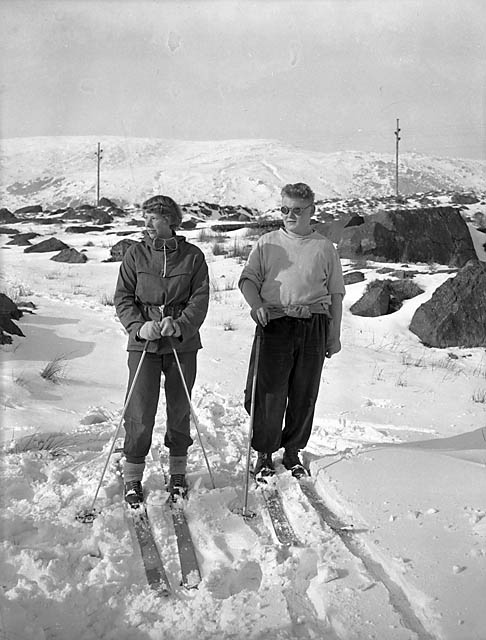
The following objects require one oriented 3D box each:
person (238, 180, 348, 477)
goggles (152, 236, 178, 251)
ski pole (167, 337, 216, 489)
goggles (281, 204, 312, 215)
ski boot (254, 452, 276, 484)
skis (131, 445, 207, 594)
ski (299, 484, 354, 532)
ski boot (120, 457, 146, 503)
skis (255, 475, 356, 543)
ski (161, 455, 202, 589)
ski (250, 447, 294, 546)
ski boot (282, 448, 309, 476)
[{"bbox_3d":[0.327,0.087,3.499,0.726,1.977,0.366,-2,10,-31],"label":"person"},{"bbox_3d":[-0.475,-0.470,3.158,0.151,0.083,0.065,1,9,-12],"label":"goggles"},{"bbox_3d":[-0.363,0.689,3.627,0.074,1.036,0.029,-22,8,-21],"label":"ski pole"},{"bbox_3d":[0.337,-0.720,3.336,0.182,0.070,0.084,5,9,10],"label":"goggles"},{"bbox_3d":[0.140,0.991,3.487,0.080,0.170,0.242,7,-31,4],"label":"ski boot"},{"bbox_3d":[-0.461,1.066,2.934,0.256,0.100,1.275,-8,18,-12],"label":"skis"},{"bbox_3d":[0.488,1.146,3.108,0.088,0.030,0.611,9,9,-17],"label":"ski"},{"bbox_3d":[-0.654,1.002,3.086,0.131,0.274,0.400,3,-11,-13],"label":"ski boot"},{"bbox_3d":[0.251,1.110,3.069,0.179,0.092,0.624,2,13,-17],"label":"skis"},{"bbox_3d":[-0.370,1.101,2.911,0.121,0.159,1.129,0,20,-11],"label":"ski"},{"bbox_3d":[0.176,1.097,3.173,0.091,0.042,0.839,7,18,-16],"label":"ski"},{"bbox_3d":[0.352,0.990,3.586,0.083,0.164,0.253,0,-3,-12],"label":"ski boot"}]
